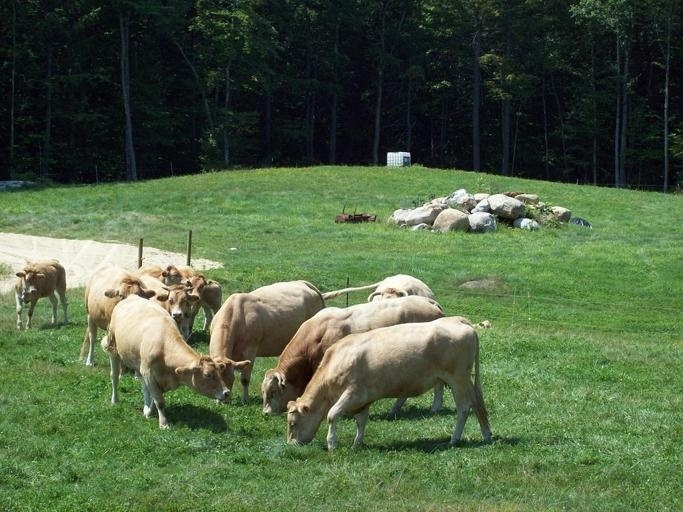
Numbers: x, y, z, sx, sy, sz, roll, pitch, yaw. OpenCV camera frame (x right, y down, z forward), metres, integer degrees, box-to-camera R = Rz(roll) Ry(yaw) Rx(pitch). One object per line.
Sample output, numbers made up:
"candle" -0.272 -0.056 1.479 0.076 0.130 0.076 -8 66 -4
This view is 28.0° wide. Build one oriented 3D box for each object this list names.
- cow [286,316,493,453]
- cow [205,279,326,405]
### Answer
"cow" 2.013 6.805 72.725 11.135 7.072 3.255 -7 12 1
"cow" -4.690 5.111 74.788 4.257 7.172 4.498 8 8 36
